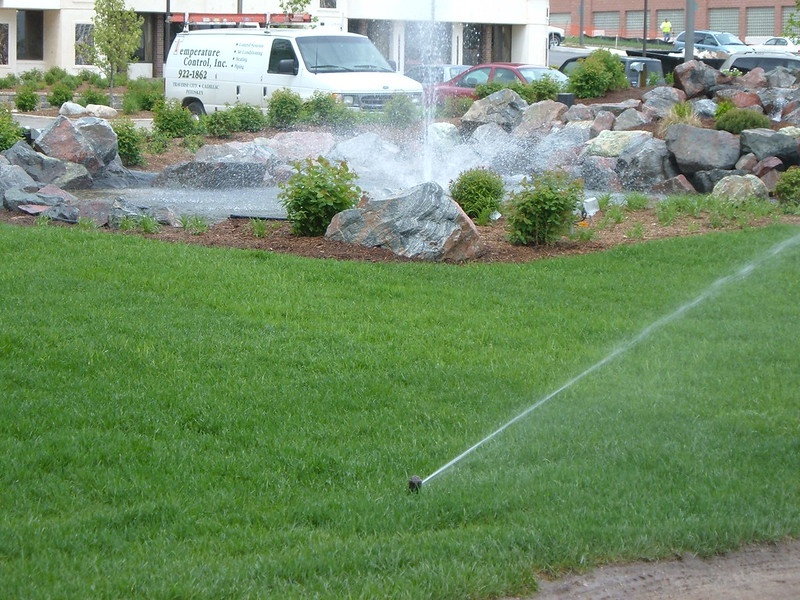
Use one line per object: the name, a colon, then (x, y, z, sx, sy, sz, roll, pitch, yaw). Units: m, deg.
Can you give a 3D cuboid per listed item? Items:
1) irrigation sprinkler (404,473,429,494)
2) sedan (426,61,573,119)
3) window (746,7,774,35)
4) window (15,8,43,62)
irrigation sprinkler: (0.157, 2.024, 16.117, 0.154, 0.180, 0.166, 3, 11, 21)
sedan: (2.426, -5.140, 34.921, 2.739, 0.999, 3.919, 0, 10, -24)
window: (17.264, -13.527, 70.848, 0.173, 1.478, 1.468, -3, 4, -26)
window: (-11.850, -8.590, 47.148, 0.140, 2.225, 1.492, 9, 11, 38)
